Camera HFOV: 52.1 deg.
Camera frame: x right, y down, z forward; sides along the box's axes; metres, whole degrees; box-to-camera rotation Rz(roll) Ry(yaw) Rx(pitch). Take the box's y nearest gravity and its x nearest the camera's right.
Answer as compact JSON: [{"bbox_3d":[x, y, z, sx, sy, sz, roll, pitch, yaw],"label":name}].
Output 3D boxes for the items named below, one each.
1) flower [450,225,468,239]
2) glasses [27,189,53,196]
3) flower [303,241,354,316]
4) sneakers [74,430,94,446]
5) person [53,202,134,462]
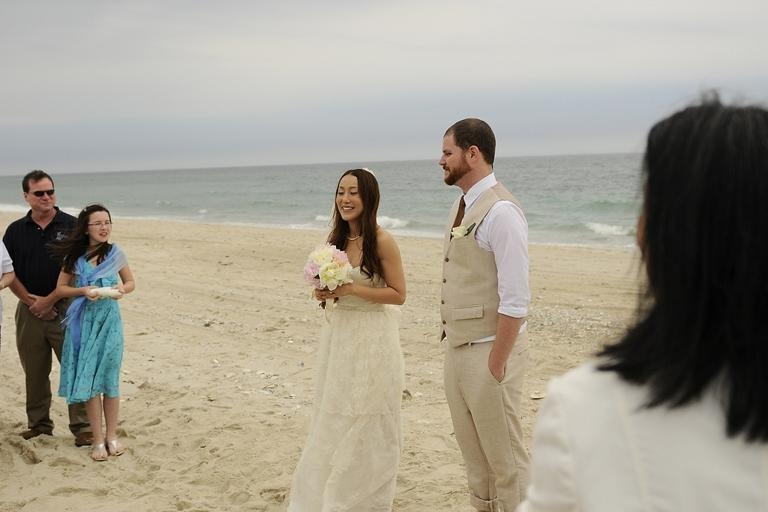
[{"bbox_3d":[0.536,-0.172,5.556,0.092,0.096,0.047,-4,-32,36],"label":"flower"},{"bbox_3d":[-3.298,-0.621,7.678,0.105,0.066,0.268,2,12,11],"label":"glasses"},{"bbox_3d":[-0.426,0.095,6.119,0.337,0.319,0.411,-13,17,-42],"label":"flower"},{"bbox_3d":[-2.887,1.751,7.560,0.138,0.172,0.183,3,-30,-5],"label":"sneakers"},{"bbox_3d":[-2.701,0.693,7.361,0.741,2.301,0.820,-5,14,-17],"label":"person"}]
